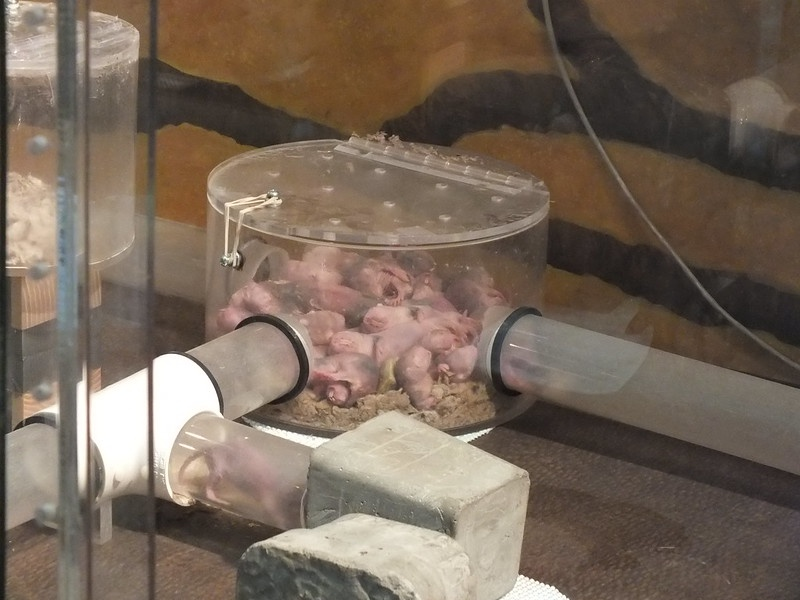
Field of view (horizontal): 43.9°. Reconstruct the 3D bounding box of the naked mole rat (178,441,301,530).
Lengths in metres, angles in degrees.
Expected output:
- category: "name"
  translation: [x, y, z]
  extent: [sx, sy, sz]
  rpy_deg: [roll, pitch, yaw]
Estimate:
- category: "naked mole rat"
  translation: [-0.155, 0.176, 1.023]
  extent: [0.139, 0.067, 0.050]
  rpy_deg: [17, 28, 14]
